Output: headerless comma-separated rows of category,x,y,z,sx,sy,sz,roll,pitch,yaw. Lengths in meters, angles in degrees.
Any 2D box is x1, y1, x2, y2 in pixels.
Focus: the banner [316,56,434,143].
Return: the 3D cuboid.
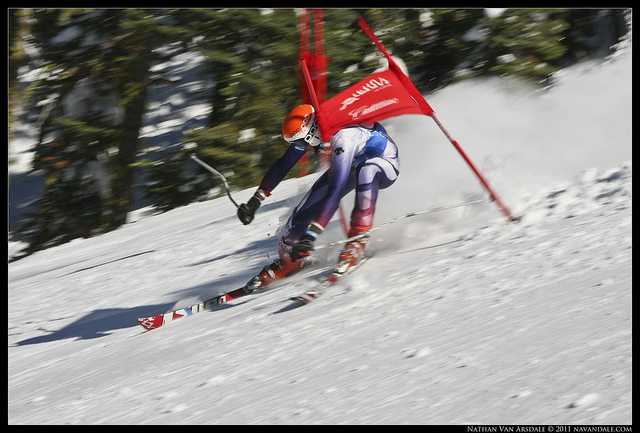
banner,0.533,-1.433,8.688,1.340,0.904,0.378,-16,9,-24
